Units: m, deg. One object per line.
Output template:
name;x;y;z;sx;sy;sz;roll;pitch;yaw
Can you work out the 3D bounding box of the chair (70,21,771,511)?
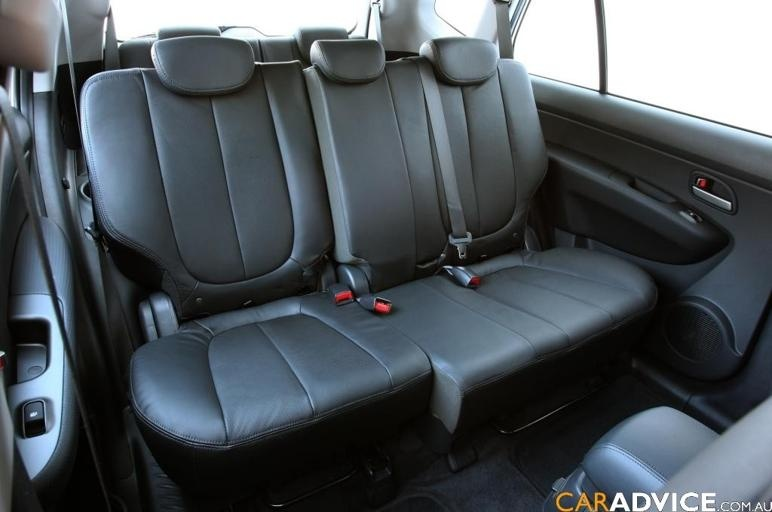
chair;0.112;0.053;1.833;1.124;0.761;1.111;-18;34;-24
